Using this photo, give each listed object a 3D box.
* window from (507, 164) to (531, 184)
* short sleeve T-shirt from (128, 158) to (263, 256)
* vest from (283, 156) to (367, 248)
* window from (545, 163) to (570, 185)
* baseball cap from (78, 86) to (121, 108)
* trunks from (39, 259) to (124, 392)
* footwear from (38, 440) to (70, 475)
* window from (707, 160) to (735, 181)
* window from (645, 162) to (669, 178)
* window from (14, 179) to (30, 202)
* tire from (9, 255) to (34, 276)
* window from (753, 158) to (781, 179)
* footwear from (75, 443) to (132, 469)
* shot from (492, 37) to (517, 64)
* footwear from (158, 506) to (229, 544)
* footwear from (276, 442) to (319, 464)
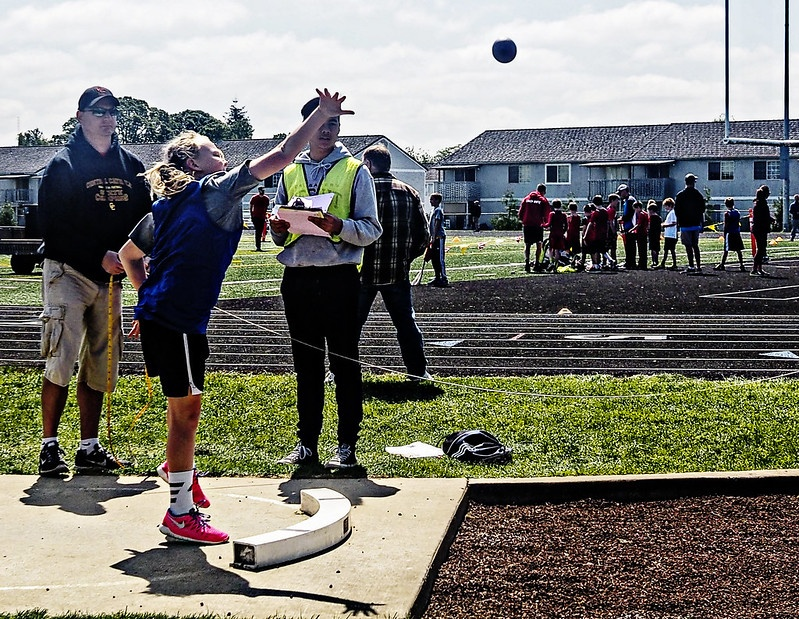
[{"bbox_3d":[7.498,-8.553,75.656,1.248,1.021,0.094,-1,0,19],"label":"window"},{"bbox_3d":[-1.109,-0.578,6.880,0.615,0.504,0.223,13,5,32],"label":"short sleeve T-shirt"},{"bbox_3d":[-0.499,-0.726,8.285,0.632,0.762,0.423,0,-2,29],"label":"vest"},{"bbox_3d":[9.727,-8.433,74.246,0.120,1.010,1.389,-5,7,-37],"label":"window"},{"bbox_3d":[-2.074,-1.449,8.313,0.265,0.162,0.382,-2,12,-11],"label":"baseball cap"},{"bbox_3d":[-2.251,0.103,8.393,0.481,0.933,0.412,-4,12,-18],"label":"trunks"},{"bbox_3d":[-2.353,0.989,8.207,0.204,0.219,0.189,-4,12,-18],"label":"footwear"},{"bbox_3d":[18.113,-7.904,68.071,1.162,0.840,0.097,5,9,35],"label":"window"},{"bbox_3d":[15.036,-8.141,70.575,1.056,1.002,0.889,-1,-1,43],"label":"window"},{"bbox_3d":[-26.053,-8.357,83.470,1.344,1.467,0.567,5,12,26],"label":"window"},{"bbox_3d":[-8.075,-0.981,25.892,0.497,0.372,0.483,2,3,-28],"label":"tire"},{"bbox_3d":[20.264,-7.779,66.607,1.182,0.836,0.099,6,10,41],"label":"window"},{"bbox_3d":[-2.009,1.005,8.421,0.467,0.203,0.160,1,-2,-9],"label":"footwear"},{"bbox_3d":[1.269,-3.130,14.671,0.251,0.242,0.305,-1,11,-5],"label":"shot"},{"bbox_3d":[-1.197,1.258,7.089,0.409,0.180,0.171,9,-4,-2],"label":"footwear"},{"bbox_3d":[-0.717,1.001,8.472,0.295,0.122,0.116,4,-6,-8],"label":"footwear"}]
